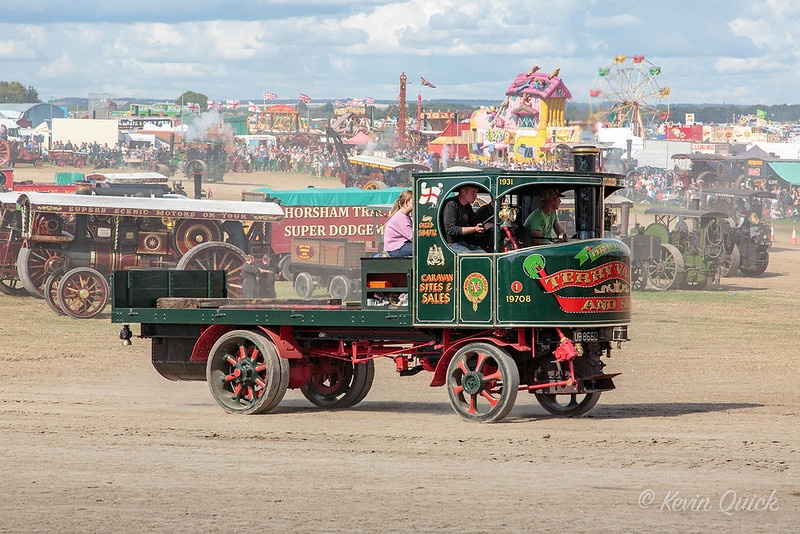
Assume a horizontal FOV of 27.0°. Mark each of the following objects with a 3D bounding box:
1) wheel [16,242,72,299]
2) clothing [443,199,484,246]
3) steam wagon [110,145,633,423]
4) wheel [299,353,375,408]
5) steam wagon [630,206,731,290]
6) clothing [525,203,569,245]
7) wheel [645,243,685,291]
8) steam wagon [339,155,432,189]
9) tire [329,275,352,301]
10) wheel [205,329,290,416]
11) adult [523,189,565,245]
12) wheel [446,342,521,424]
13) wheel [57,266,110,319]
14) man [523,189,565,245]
[{"bbox_3d":[-9.489,0.187,44.649,1.482,1.294,1.374,7,8,-1],"label":"wheel"},{"bbox_3d":[1.058,-0.790,31.243,0.788,0.980,0.862,-3,-2,27],"label":"clothing"},{"bbox_3d":[-0.904,0.634,32.751,8.982,4.175,3.685,0,0,9],"label":"steam wagon"},{"bbox_3d":[-1.329,2.056,32.865,1.209,1.209,0.459,-6,-2,43],"label":"wheel"},{"bbox_3d":[8.237,-0.521,51.063,2.084,1.935,2.999,-3,6,-44],"label":"steam wagon"},{"bbox_3d":[2.783,-0.706,31.411,0.670,0.770,0.638,-8,18,-11],"label":"clothing"},{"bbox_3d":[7.915,0.009,50.035,0.539,1.493,1.347,-2,4,-39],"label":"wheel"},{"bbox_3d":[-1.113,-4.427,72.275,1.921,1.844,5.737,-1,3,-32],"label":"steam wagon"},{"bbox_3d":[-1.581,0.597,45.751,0.192,0.538,0.536,-3,27,-45],"label":"tire"},{"bbox_3d":[-2.857,2.030,32.005,1.644,1.646,0.554,-1,-4,40],"label":"wheel"},{"bbox_3d":[2.749,-0.917,31.427,0.745,1.068,0.823,15,17,37],"label":"adult"},{"bbox_3d":[1.560,2.080,30.962,1.255,1.345,0.545,16,9,36],"label":"wheel"},{"bbox_3d":[-8.086,0.677,42.842,1.301,1.282,0.445,2,1,-19],"label":"wheel"},{"bbox_3d":[2.737,-0.917,31.404,0.745,1.060,0.855,16,17,39],"label":"man"}]
